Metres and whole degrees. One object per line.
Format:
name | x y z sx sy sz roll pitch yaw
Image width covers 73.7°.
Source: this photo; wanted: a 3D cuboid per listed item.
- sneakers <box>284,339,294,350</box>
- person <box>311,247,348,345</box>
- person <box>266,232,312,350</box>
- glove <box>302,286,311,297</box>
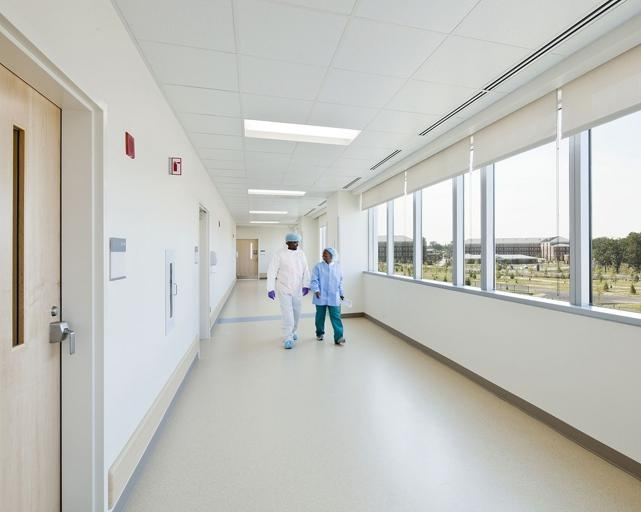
sneakers | -0.420 1.181 5.687 0.124 0.111 0.203 -1 13 -3
person | 0.122 0.607 6.116 0.496 1.334 0.826 -3 12 -15
person | -0.373 0.446 5.935 0.646 1.387 0.769 -6 12 -24
glove | -0.201 0.519 6.127 0.098 0.157 0.149 2 -14 -5
